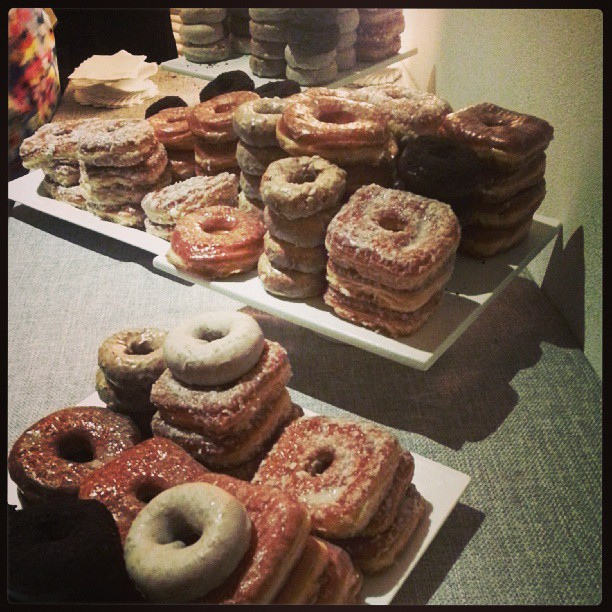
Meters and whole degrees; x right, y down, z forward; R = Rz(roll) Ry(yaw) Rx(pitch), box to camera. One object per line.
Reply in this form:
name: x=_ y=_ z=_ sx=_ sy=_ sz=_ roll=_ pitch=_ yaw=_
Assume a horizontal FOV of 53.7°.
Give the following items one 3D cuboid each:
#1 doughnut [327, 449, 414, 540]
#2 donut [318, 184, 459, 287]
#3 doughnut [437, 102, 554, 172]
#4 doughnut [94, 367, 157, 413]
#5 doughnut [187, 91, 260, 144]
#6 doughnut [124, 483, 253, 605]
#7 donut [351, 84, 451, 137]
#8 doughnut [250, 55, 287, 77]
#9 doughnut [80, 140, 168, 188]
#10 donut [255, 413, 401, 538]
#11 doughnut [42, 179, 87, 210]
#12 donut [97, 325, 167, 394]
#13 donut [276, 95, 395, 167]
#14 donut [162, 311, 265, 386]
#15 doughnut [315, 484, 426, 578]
doughnut: x=0.136 y=0.335 z=1.100 sx=0.148 sy=0.036 sz=0.138 roll=-21 pitch=17 yaw=-14
donut: x=0.195 y=-0.157 z=1.313 sx=0.253 sy=0.083 sz=0.239 roll=22 pitch=52 yaw=24
doughnut: x=0.490 y=-0.441 z=1.556 sx=0.297 sy=0.084 sz=0.275 roll=-9 pitch=35 yaw=-14
doughnut: x=-0.404 y=0.200 z=1.334 sx=0.121 sy=0.036 sz=0.116 roll=12 pitch=18 yaw=26
doughnut: x=-0.247 y=-0.565 z=1.818 sx=0.219 sy=0.070 sz=0.208 roll=20 pitch=58 yaw=22
doughnut: x=-0.158 y=0.393 z=0.957 sx=0.188 sy=0.063 sz=0.182 roll=26 pitch=56 yaw=30
donut: x=0.262 y=-0.487 z=1.603 sx=0.204 sy=0.060 sz=0.185 roll=2 pitch=27 yaw=-2
doughnut: x=-0.143 y=-0.905 z=2.296 sx=0.137 sy=0.067 sz=0.135 roll=0 pitch=37 yaw=-2
doughnut: x=-0.557 y=-0.410 z=1.839 sx=0.190 sy=0.055 sz=0.180 roll=5 pitch=25 yaw=19
donut: x=0.035 y=0.292 z=1.108 sx=0.226 sy=0.087 sz=0.223 roll=19 pitch=40 yaw=22
doughnut: x=-0.785 y=-0.363 z=1.972 sx=0.116 sy=0.029 sz=0.113 roll=25 pitch=19 yaw=11
donut: x=-0.382 y=0.111 z=1.317 sx=0.168 sy=0.050 sz=0.150 roll=5 pitch=30 yaw=6
donut: x=0.078 y=-0.426 z=1.503 sx=0.268 sy=0.124 sz=0.193 roll=26 pitch=44 yaw=29
donut: x=-0.182 y=0.082 z=1.181 sx=0.183 sy=0.078 sz=0.149 roll=-7 pitch=38 yaw=-11
doughnut: x=0.119 y=0.392 z=1.095 sx=0.154 sy=0.042 sz=0.147 roll=-27 pitch=23 yaw=-18
